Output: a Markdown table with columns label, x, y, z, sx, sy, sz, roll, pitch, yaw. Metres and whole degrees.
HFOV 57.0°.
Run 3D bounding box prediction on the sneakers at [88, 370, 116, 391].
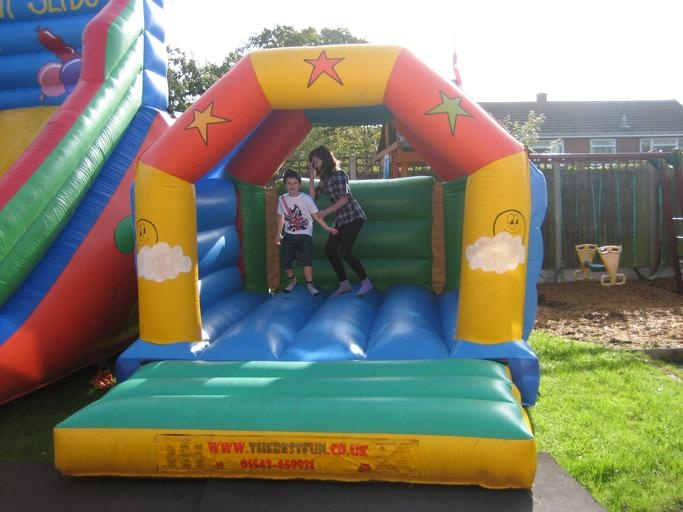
| label | x | y | z | sx | sy | sz | roll | pitch | yaw |
| --- | --- | --- | --- | --- | --- | --- | --- | --- | --- |
| sneakers | -2.006 | 1.034 | 5.339 | 0.158 | 0.060 | 0.170 | 1 | 20 | -4 |

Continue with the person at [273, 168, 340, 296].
| label | x | y | z | sx | sy | sz | roll | pitch | yaw |
| --- | --- | --- | --- | --- | --- | --- | --- | --- | --- |
| person | -0.394 | -0.209 | 5.974 | 0.475 | 1.162 | 0.649 | -2 | 2 | -38 |
